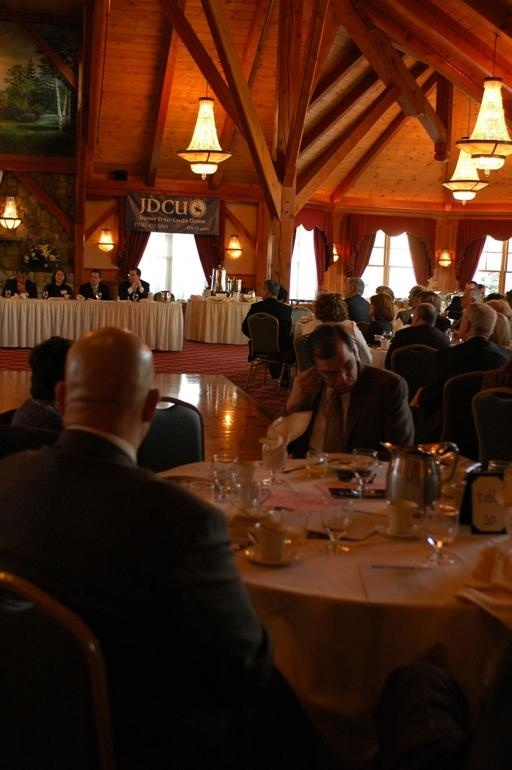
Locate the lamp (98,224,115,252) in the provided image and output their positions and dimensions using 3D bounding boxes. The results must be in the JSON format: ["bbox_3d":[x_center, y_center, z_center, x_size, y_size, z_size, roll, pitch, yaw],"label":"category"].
[{"bbox_3d":[-3.648,-3.529,13.667,0.460,0.592,0.455,0,-2,-5],"label":"lamp"}]

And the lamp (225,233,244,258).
[{"bbox_3d":[-0.567,-3.542,14.403,0.459,0.549,0.485,3,5,40],"label":"lamp"}]

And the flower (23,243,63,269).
[{"bbox_3d":[-4.903,-2.949,12.808,0.842,0.826,0.394,0,-23,-15],"label":"flower"}]

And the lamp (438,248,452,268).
[{"bbox_3d":[5.496,-3.703,16.399,0.464,0.600,0.460,1,-3,-2],"label":"lamp"}]

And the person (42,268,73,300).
[{"bbox_3d":[-3.815,-1.936,10.820,0.494,0.588,1.014,2,4,-20],"label":"person"}]

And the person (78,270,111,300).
[{"bbox_3d":[-3.149,-1.951,10.968,0.516,0.625,1.048,2,4,-18],"label":"person"}]

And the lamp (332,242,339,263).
[{"bbox_3d":[2.261,-3.769,16.100,0.102,0.512,0.335,5,4,28],"label":"lamp"}]

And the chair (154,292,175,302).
[{"bbox_3d":[-1.818,-1.735,11.127,0.301,0.153,0.424,-1,4,-13],"label":"chair"}]

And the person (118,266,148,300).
[{"bbox_3d":[-2.326,-1.970,11.079,0.584,0.652,0.725,0,5,-40],"label":"person"}]

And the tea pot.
[{"bbox_3d":[0.417,0.226,1.433,0.188,0.195,0.147,7,2,30],"label":"tea pot"}]

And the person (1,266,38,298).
[{"bbox_3d":[-4.465,-1.918,10.647,0.608,0.808,0.347,7,-8,-6],"label":"person"}]

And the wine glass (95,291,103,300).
[{"bbox_3d":[-3.080,-1.746,11.012,0.130,0.176,0.063,2,-26,-9],"label":"wine glass"}]

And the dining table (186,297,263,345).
[{"bbox_3d":[-0.853,-1.421,12.157,1.179,0.690,1.187,4,3,11],"label":"dining table"}]

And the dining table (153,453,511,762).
[{"bbox_3d":[0.181,0.429,1.162,0.537,0.429,0.668,-2,7,-4],"label":"dining table"}]
